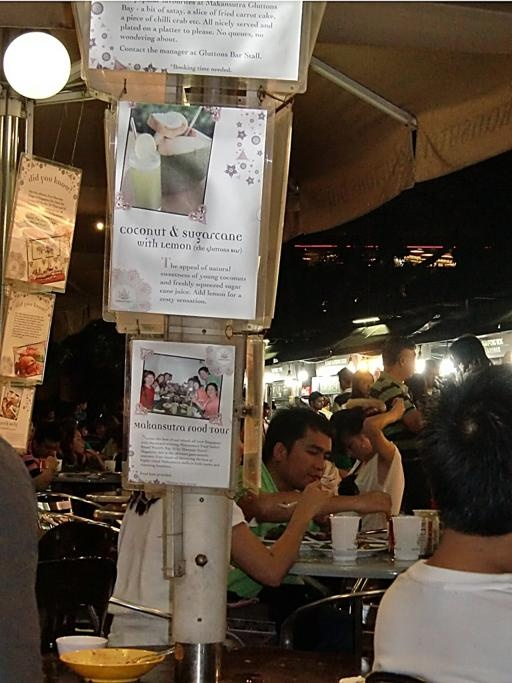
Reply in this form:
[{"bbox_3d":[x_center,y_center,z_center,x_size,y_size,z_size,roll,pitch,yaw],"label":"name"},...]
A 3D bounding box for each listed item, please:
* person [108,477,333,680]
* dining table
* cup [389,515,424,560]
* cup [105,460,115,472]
[{"bbox_3d":[-0.085,0.725,2.392,0.722,0.894,0.579,-1,-8,23],"label":"person"},{"bbox_3d":[-0.053,0.744,2.101,0.767,0.677,0.453,24,-28,-31],"label":"dining table"},{"bbox_3d":[0.596,0.770,2.582,0.163,0.178,0.169,-1,-14,0],"label":"cup"},{"bbox_3d":[-1.939,1.639,8.595,0.166,0.138,0.187,0,-14,3],"label":"cup"}]
